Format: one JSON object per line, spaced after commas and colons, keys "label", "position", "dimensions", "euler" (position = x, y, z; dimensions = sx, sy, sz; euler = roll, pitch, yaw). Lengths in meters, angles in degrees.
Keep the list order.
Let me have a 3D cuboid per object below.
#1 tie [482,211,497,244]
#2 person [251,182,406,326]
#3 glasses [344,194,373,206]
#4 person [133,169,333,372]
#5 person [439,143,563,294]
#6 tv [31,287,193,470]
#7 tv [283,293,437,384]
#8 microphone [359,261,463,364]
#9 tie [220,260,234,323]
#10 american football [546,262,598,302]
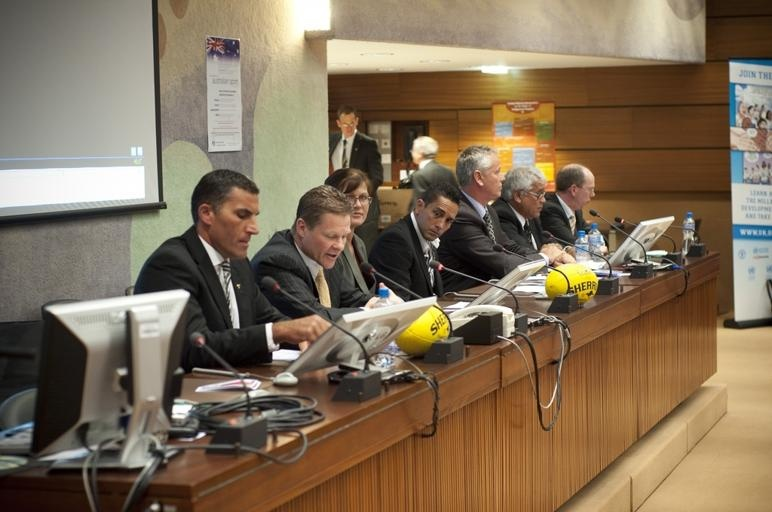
{"label": "tie", "position": [0.778, -0.225, 4.506], "dimensions": [0.071, 0.201, 0.153], "euler": [-2, -10, -22]}
{"label": "person", "position": [-0.343, -0.030, 2.974], "dimensions": [0.831, 0.690, 0.591], "euler": [3, 6, 19]}
{"label": "glasses", "position": [-0.118, -0.360, 3.852], "dimensions": [0.167, 0.053, 0.166], "euler": [-3, -1, 34]}
{"label": "person", "position": [-0.656, 0.041, 2.720], "dimensions": [0.994, 0.893, 0.707], "euler": [2, 3, 16]}
{"label": "person", "position": [0.812, -0.263, 4.766], "dimensions": [1.168, 1.178, 0.932], "euler": [-4, -1, 13]}
{"label": "tv", "position": [-0.632, 0.304, 1.397], "dimensions": [0.379, 0.374, 0.212], "euler": [-3, 15, -35]}
{"label": "tv", "position": [-0.085, 0.298, 2.081], "dimensions": [0.389, 0.064, 0.536], "euler": [-31, -12, 18]}
{"label": "microphone", "position": [0.128, 0.235, 2.244], "dimensions": [0.161, 0.216, 0.171], "euler": [-37, -2, -34]}
{"label": "tie", "position": [-0.683, 0.142, 2.617], "dimensions": [0.033, 0.310, 0.038], "euler": [-9, 3, -12]}
{"label": "american football", "position": [1.008, 0.151, 3.227], "dimensions": [0.271, 0.164, 0.176], "euler": [-2, 3, -38]}
